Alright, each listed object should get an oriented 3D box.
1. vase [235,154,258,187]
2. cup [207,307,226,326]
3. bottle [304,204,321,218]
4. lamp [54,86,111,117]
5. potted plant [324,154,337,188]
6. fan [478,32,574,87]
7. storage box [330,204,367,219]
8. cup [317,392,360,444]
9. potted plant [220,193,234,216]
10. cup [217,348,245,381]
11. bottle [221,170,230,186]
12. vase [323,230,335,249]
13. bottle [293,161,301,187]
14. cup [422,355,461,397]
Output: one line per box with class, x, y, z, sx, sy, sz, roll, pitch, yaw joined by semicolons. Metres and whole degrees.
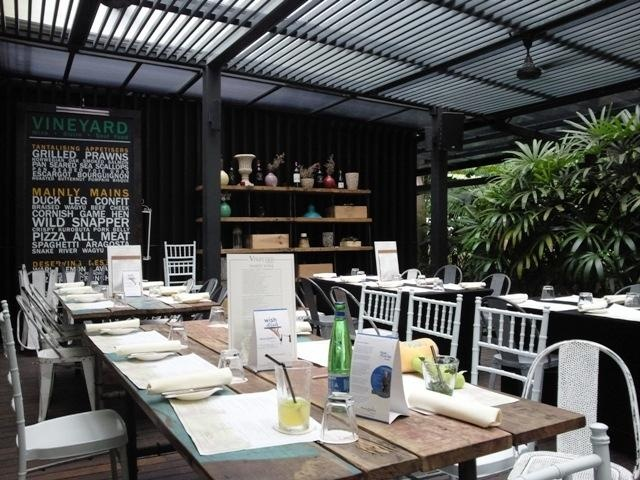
vase;-1.308;-1.230;7.562;0.341;0.600;0.526;-2;3;-23
cup;-0.579;0.426;2.414;0.105;0.088;0.097;0;4;0
bottle;-0.131;-0.542;8.066;0.320;0.282;0.299;0;-5;0
lamp;-3.725;-2.182;6.665;0.882;0.411;0.854;14;15;35
potted plant;0.197;-1.377;8.445;0.263;0.681;0.473;0;3;5
fan;2.762;-2.323;5.562;0.608;0.811;0.592;-3;2;-41
storage box;0.579;-0.549;8.263;0.415;0.157;0.406;0;-2;-19
cup;0.045;0.436;1.089;0.124;0.108;0.112;-1;1;-3
potted plant;-1.630;-0.617;7.489;0.153;0.405;0.422;-1;2;-6
cup;-0.301;0.431;1.490;0.112;0.095;0.093;5;-7;-39
bottle;-1.620;-1.079;7.367;0.129;0.339;0.460;-1;2;-10
vase;0.191;-0.013;8.232;0.286;0.457;0.266;0;1;4
bottle;-0.428;-1.254;8.040;0.143;0.501;0.447;-1;2;-3
cup;0.362;0.413;1.338;0.124;0.100;0.124;-1;-4;0
